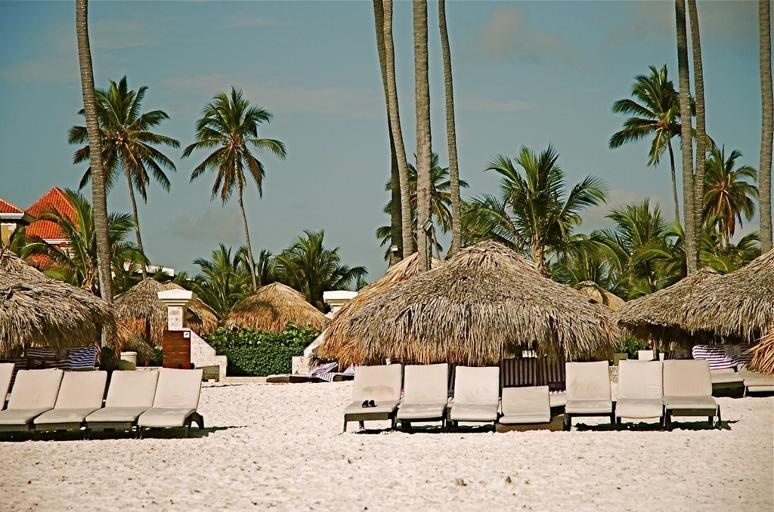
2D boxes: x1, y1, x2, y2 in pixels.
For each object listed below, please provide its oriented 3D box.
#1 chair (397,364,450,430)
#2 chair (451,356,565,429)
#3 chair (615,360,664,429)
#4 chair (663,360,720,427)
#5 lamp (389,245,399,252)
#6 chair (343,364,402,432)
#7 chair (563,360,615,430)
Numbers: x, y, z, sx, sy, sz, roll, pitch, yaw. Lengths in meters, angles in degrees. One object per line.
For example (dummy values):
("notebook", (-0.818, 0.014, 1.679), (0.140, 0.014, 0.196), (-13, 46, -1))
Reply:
("chair", (0.677, 2.698, 14.999), (0.978, 1.213, 1.229), (1, -3, 2))
("chair", (2.540, 2.790, 16.057), (2.150, 1.196, 3.983), (0, -3, 13))
("chair", (4.701, 2.597, 14.529), (0.811, 1.257, 1.431), (-2, -1, 16))
("chair", (5.538, 2.513, 14.393), (0.931, 1.099, 1.275), (-4, -2, 15))
("lamp", (0.241, -0.216, 23.613), (0.234, 0.231, 0.353), (1, -3, -2))
("chair", (-0.273, 2.736, 15.134), (1.066, 1.218, 1.264), (1, -3, 0))
("chair", (3.814, 2.600, 14.737), (0.877, 1.224, 1.140), (0, -3, 14))
